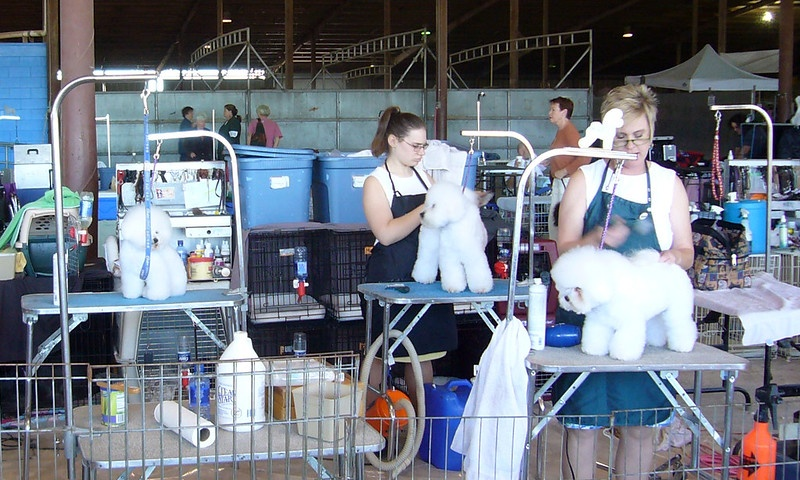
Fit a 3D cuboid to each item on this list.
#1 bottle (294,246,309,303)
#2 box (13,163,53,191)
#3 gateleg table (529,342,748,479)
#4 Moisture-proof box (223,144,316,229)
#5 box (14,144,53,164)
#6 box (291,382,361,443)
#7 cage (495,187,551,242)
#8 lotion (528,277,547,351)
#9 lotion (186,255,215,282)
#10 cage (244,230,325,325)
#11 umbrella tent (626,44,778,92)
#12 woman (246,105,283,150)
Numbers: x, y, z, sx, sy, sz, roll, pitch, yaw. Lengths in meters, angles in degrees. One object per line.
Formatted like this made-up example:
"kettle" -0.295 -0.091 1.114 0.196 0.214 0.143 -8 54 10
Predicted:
"bottle" -0.871 0.297 7.427 0.113 0.389 0.147 -3 1 -8
"box" -4.750 -0.825 10.849 0.522 0.338 0.288 -1 0 -35
"gateleg table" 1.531 1.033 5.540 1.400 0.683 0.474 -3 2 -4
"Moisture-proof box" -1.377 -0.524 8.332 0.795 0.881 0.789 0 1 -23
"box" -4.740 -1.109 10.867 0.642 0.318 0.470 -1 6 -14
"box" -0.456 1.092 5.433 0.374 0.292 0.466 0 -1 39
"cage" 1.473 -0.303 9.631 0.949 0.621 0.520 0 -1 -17
"lotion" 0.906 0.486 5.556 0.125 0.308 0.139 -3 2 8
"lotion" -1.744 0.259 7.291 0.217 0.219 0.216 1 -3 -30
"cage" -1.099 0.328 7.406 0.820 1.077 0.721 -1 3 -12
"umbrella tent" 5.654 -3.126 15.360 2.264 0.979 0.721 -1 2 37
"woman" -2.264 -1.747 14.077 0.605 1.104 0.392 6 31 -4
